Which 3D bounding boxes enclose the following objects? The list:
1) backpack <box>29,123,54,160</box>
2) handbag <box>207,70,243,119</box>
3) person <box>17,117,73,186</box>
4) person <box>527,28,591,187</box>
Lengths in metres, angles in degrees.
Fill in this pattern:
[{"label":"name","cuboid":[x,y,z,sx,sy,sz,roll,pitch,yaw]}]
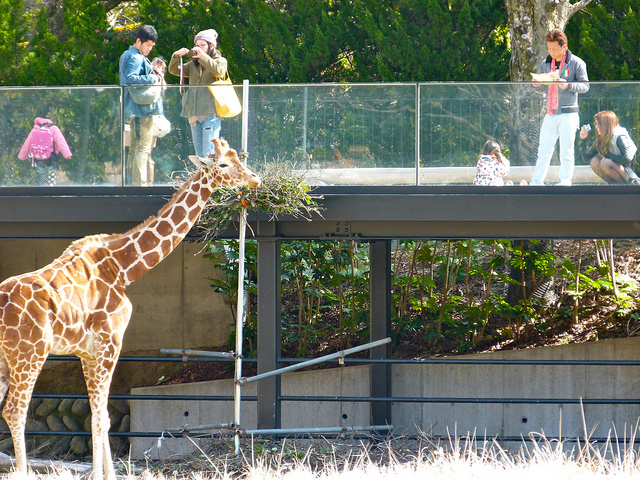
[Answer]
[{"label":"backpack","cuboid":[-4.053,-1.457,30.814,0.358,0.554,0.298,7,9,9]},{"label":"handbag","cuboid":[-1.408,-2.166,30.563,0.200,0.741,0.629,-5,23,4]},{"label":"person","cuboid":[-3.958,-1.336,30.713,0.945,1.408,0.407,-1,-1,1]},{"label":"person","cuboid":[3.473,-1.936,30.484,0.927,2.296,0.614,-4,4,-7]}]
